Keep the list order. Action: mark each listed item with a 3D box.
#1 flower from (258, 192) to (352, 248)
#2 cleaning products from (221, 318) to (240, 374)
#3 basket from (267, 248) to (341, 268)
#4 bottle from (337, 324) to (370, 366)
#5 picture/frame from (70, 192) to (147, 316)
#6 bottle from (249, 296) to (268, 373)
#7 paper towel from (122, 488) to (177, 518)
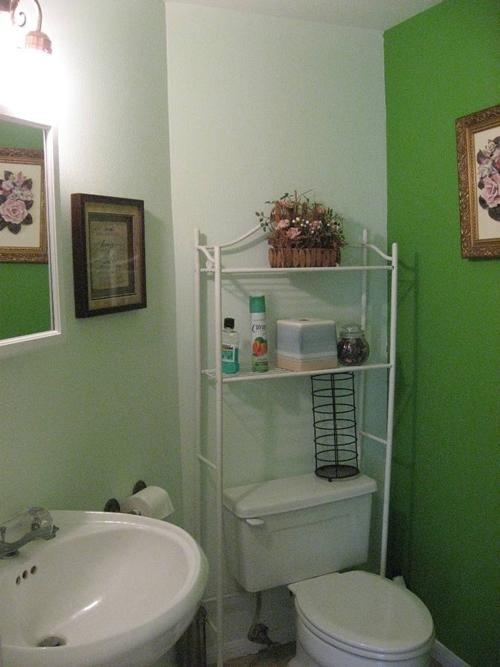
[{"bbox_3d":[0.189,-0.357,1.796,0.337,0.189,0.231,-3,7,-17],"label":"flower"},{"bbox_3d":[-0.060,0.037,1.699,0.049,0.167,0.141,-1,7,-3],"label":"cleaning products"},{"bbox_3d":[0.163,-0.229,1.734,0.213,0.059,0.094,-1,7,2],"label":"basket"},{"bbox_3d":[0.321,0.037,1.895,0.119,0.159,0.114,0,3,0],"label":"bottle"},{"bbox_3d":[-0.355,-0.199,1.420,0.038,0.350,0.304,3,7,31],"label":"picture/frame"},{"bbox_3d":[0.025,-0.001,1.747,0.046,0.225,0.099,-1,7,-2],"label":"bottle"},{"bbox_3d":[-0.273,0.430,1.505,0.085,0.050,0.100,10,2,23],"label":"paper towel"}]
